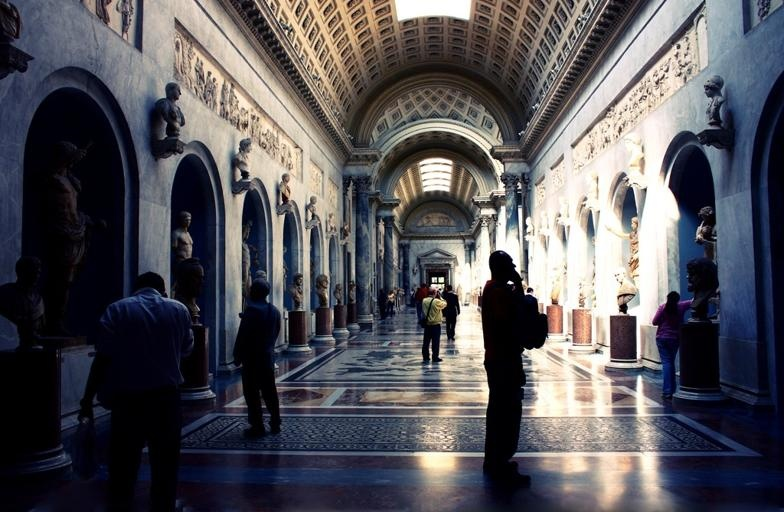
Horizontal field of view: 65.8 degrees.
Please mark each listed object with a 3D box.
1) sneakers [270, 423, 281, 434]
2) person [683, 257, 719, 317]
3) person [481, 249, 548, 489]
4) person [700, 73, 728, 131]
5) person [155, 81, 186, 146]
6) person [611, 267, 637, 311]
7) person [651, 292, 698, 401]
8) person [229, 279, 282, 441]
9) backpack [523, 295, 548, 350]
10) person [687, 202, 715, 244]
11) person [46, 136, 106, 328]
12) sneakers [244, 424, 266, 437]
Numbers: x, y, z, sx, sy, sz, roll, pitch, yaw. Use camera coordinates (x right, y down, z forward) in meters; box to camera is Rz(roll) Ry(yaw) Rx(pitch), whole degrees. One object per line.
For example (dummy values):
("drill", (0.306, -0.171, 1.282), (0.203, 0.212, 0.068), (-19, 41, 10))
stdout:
("sneakers", (-1.898, 2.775, 9.823), (0.142, 0.178, 0.151), (1, -13, 4))
("person", (5.766, 0.589, 11.225), (0.487, 1.137, 0.419), (-4, -8, 27))
("person", (1.607, 1.460, 8.260), (0.841, 3.105, 0.471), (-2, -8, 18))
("person", (6.233, -2.934, 11.645), (0.354, 1.079, 0.747), (-4, -8, 29))
("person", (-4.532, -2.897, 12.291), (0.535, 1.261, 0.754), (3, -8, -21))
("person", (5.901, 0.814, 15.448), (0.658, 1.444, 1.139), (1, -3, 22))
("person", (5.424, 1.690, 11.709), (0.631, 2.029, 0.991), (-4, -8, 27))
("person", (-2.183, 1.607, 9.848), (0.767, 2.524, 0.528), (2, -7, -11))
("backpack", (1.934, 0.879, 8.238), (0.292, 0.737, 0.576), (-1, -8, 13))
("person", (6.398, -0.666, 12.343), (0.340, 0.794, 0.598), (-3, -8, 21))
("person", (-5.446, -0.297, 10.193), (0.711, 3.187, 1.415), (4, -8, -27))
("sneakers", (-2.200, 2.776, 9.686), (0.339, 0.176, 0.176), (2, -8, -14))
